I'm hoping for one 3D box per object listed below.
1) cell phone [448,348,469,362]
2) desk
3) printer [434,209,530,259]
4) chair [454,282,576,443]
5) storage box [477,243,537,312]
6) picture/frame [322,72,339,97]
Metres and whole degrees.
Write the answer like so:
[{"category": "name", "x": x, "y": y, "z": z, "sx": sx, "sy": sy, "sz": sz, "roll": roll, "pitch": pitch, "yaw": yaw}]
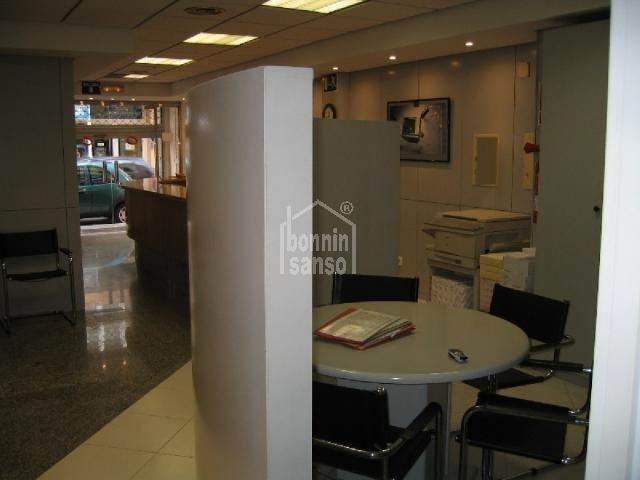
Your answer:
[{"category": "cell phone", "x": 0.650, "y": 0.543, "z": 2.415, "sx": 0.089, "sy": 0.031, "sz": 0.132, "roll": 3, "pitch": 11, "yaw": 13}, {"category": "desk", "x": 0.512, "y": 0.571, "z": 2.562, "sx": 0.865, "sy": 0.590, "sz": 0.895, "roll": 6, "pitch": 14, "yaw": 30}, {"category": "printer", "x": 1.752, "y": -0.079, "z": 5.357, "sx": 0.593, "sy": 0.315, "sz": 0.604, "roll": -7, "pitch": 12, "yaw": -30}, {"category": "chair", "x": 1.128, "y": 0.749, "z": 3.165, "sx": 0.759, "sy": 0.767, "sz": 0.781, "roll": 8, "pitch": 12, "yaw": 36}, {"category": "storage box", "x": 1.603, "y": 0.324, "z": 4.420, "sx": 0.344, "sy": 0.487, "sz": 0.627, "roll": -2, "pitch": 4, "yaw": -14}, {"category": "picture/frame", "x": 0.139, "y": -2.350, "z": 7.697, "sx": 0.062, "sy": 0.272, "sz": 0.431, "roll": -5, "pitch": 11, "yaw": -27}]
